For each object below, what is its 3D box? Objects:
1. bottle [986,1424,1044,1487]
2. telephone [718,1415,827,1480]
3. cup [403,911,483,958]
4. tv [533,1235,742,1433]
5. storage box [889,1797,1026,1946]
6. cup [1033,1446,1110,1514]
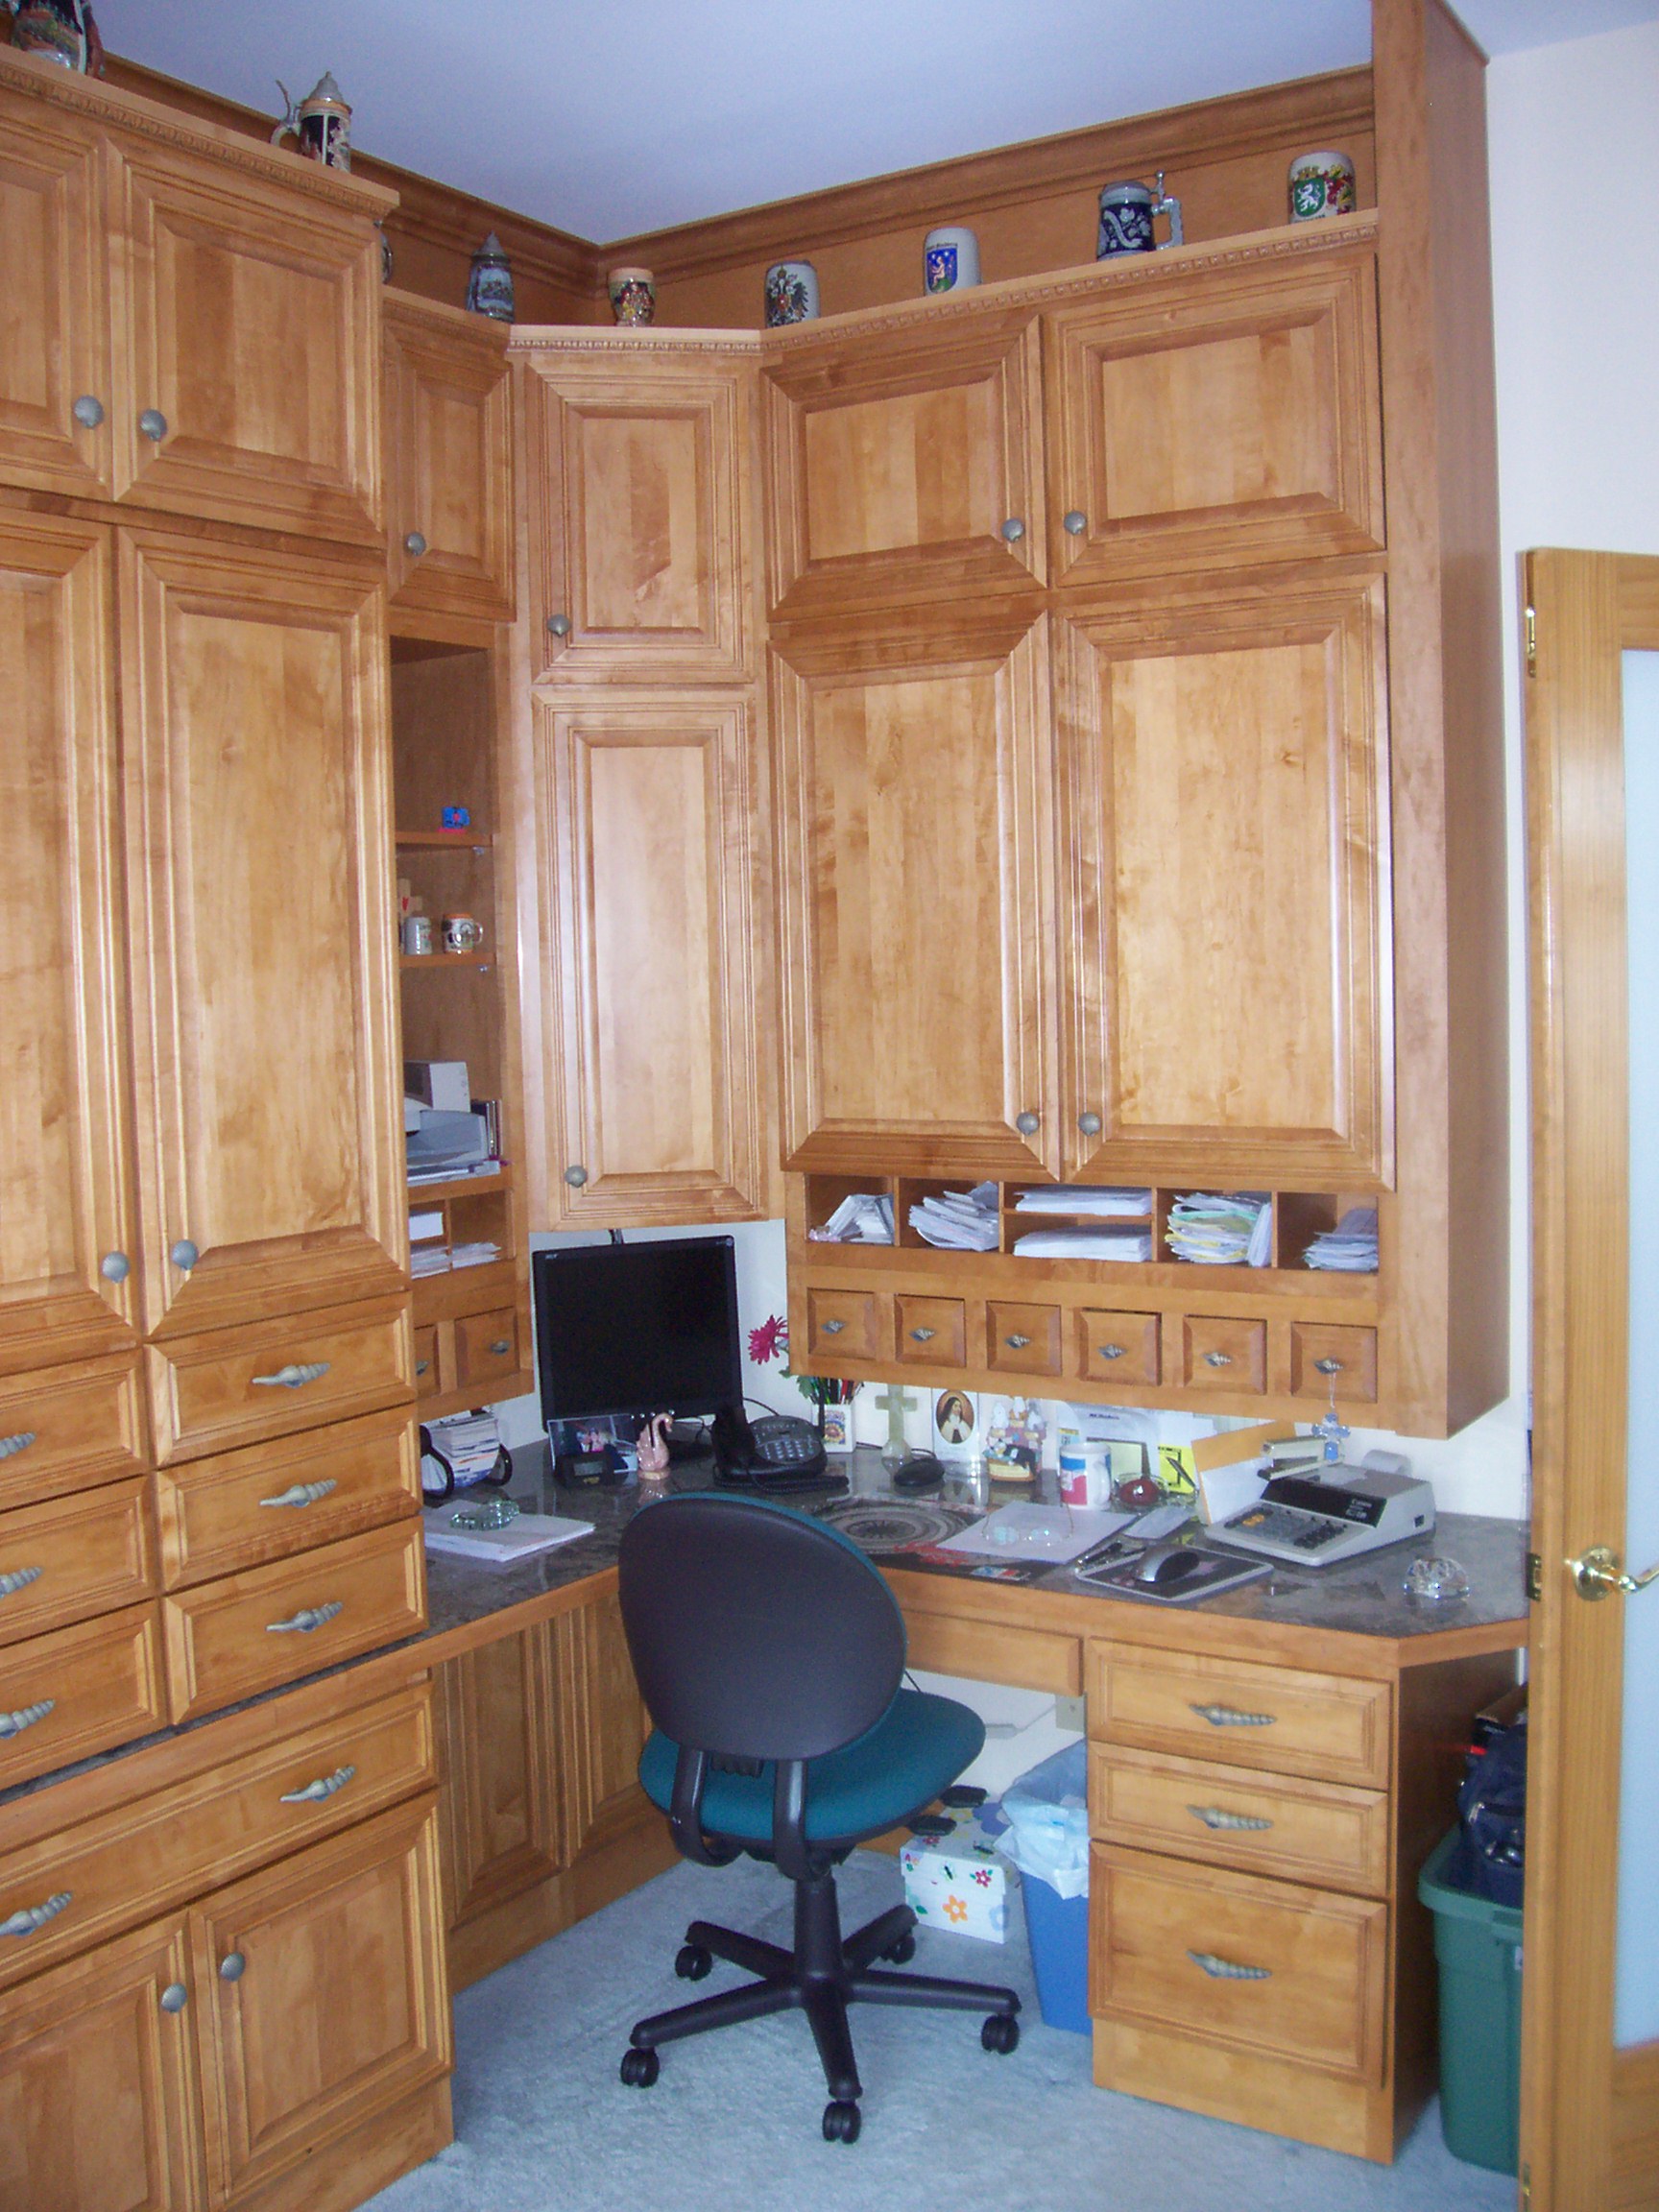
[{"bbox_3d":[0.317,0.611,3.344,0.072,0.091,0.033,-6,-19,18],"label":"bottle"},{"bbox_3d":[-0.107,0.587,3.397,0.127,0.070,0.125,2,11,11],"label":"telephone"},{"bbox_3d":[-0.626,-0.277,3.118,0.122,0.081,0.065,1,1,0],"label":"cup"},{"bbox_3d":[-0.348,0.408,3.425,0.362,0.299,0.060,-3,0,-26],"label":"tv"},{"bbox_3d":[0.235,1.336,3.363,0.177,0.108,0.180,0,0,31],"label":"storage box"},{"bbox_3d":[0.407,0.623,3.257,0.106,0.116,0.106,-1,2,0],"label":"cup"}]
